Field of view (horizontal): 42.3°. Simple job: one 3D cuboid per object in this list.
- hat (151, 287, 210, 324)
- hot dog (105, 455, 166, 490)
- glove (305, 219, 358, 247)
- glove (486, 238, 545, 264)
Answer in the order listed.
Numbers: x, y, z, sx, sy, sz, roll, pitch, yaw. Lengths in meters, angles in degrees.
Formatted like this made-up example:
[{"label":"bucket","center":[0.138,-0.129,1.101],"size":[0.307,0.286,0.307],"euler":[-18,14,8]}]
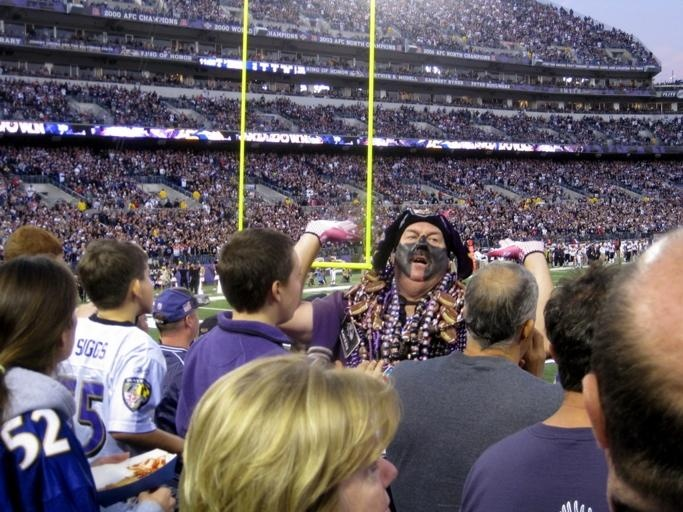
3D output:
[{"label":"hat","center":[-1.018,0.256,5.554],"size":[0.222,0.198,0.373],"euler":[16,30,40]},{"label":"hot dog","center":[-0.920,0.963,3.929],"size":[0.273,0.079,0.138],"euler":[6,4,-27]},{"label":"glove","center":[-0.063,-0.146,5.311],"size":[0.330,0.107,0.315],"euler":[8,4,-8]},{"label":"glove","center":[1.025,-0.034,5.205],"size":[0.339,0.167,0.205],"euler":[-1,0,43]}]
